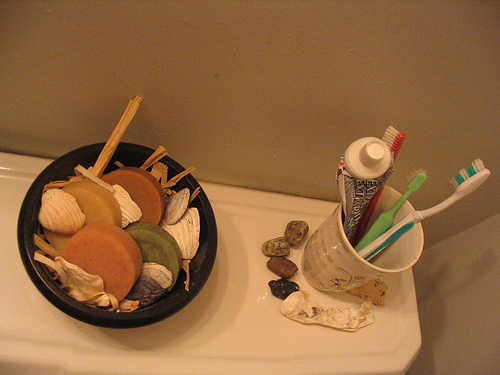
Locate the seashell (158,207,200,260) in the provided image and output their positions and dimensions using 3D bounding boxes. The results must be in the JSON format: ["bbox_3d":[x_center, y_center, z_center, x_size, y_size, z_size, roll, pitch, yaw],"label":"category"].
[{"bbox_3d":[-0.123,0.090,0.849,0.061,0.019,0.092,-8,77,-11],"label":"seashell"}]

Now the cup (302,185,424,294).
[{"bbox_3d":[0.231,0.116,0.881,0.211,0.206,0.139,15,62,-6],"label":"cup"}]

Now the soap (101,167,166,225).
[{"bbox_3d":[-0.204,0.011,0.849,0.106,0.109,0.025,-8,13,11],"label":"soap"}]

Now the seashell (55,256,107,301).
[{"bbox_3d":[-0.291,0.161,0.780,0.089,0.058,0.026,32,21,-10],"label":"seashell"}]

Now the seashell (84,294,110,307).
[{"bbox_3d":[-0.261,0.195,0.782,0.028,0.021,0.010,-4,76,7],"label":"seashell"}]

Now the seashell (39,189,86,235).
[{"bbox_3d":[-0.334,0.043,0.796,0.050,0.038,0.073,-27,49,-36],"label":"seashell"}]

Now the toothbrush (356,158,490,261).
[{"bbox_3d":[0.335,0.035,0.875,0.028,0.324,0.044,43,24,-20],"label":"toothbrush"}]

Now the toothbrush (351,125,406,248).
[{"bbox_3d":[0.225,0.002,0.803,0.038,0.278,0.022,12,34,-15],"label":"toothbrush"}]

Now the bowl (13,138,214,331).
[{"bbox_3d":[-0.238,0.096,0.828,0.342,0.252,0.290,6,39,-9],"label":"bowl"}]

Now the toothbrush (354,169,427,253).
[{"bbox_3d":[0.250,0.043,0.821,0.023,0.207,0.040,41,5,-44],"label":"toothbrush"}]
